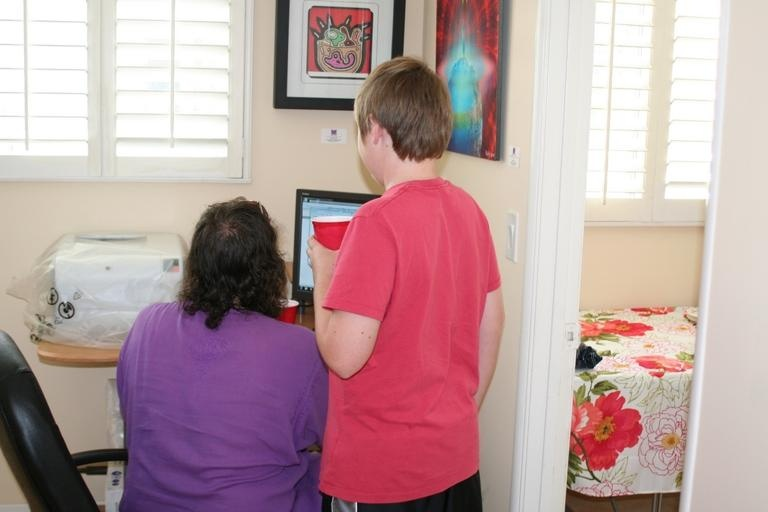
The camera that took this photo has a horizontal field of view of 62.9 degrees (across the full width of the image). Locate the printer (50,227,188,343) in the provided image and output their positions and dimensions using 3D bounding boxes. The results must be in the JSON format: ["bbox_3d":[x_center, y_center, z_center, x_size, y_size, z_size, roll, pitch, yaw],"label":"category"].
[{"bbox_3d":[-1.086,0.195,2.773,0.605,0.438,0.455,0,-1,3],"label":"printer"}]

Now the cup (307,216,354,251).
[{"bbox_3d":[-0.167,-0.064,1.883,0.111,0.087,0.110,3,9,-1],"label":"cup"}]

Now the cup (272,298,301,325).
[{"bbox_3d":[-0.365,0.199,2.359,0.107,0.092,0.118,0,6,2],"label":"cup"}]
